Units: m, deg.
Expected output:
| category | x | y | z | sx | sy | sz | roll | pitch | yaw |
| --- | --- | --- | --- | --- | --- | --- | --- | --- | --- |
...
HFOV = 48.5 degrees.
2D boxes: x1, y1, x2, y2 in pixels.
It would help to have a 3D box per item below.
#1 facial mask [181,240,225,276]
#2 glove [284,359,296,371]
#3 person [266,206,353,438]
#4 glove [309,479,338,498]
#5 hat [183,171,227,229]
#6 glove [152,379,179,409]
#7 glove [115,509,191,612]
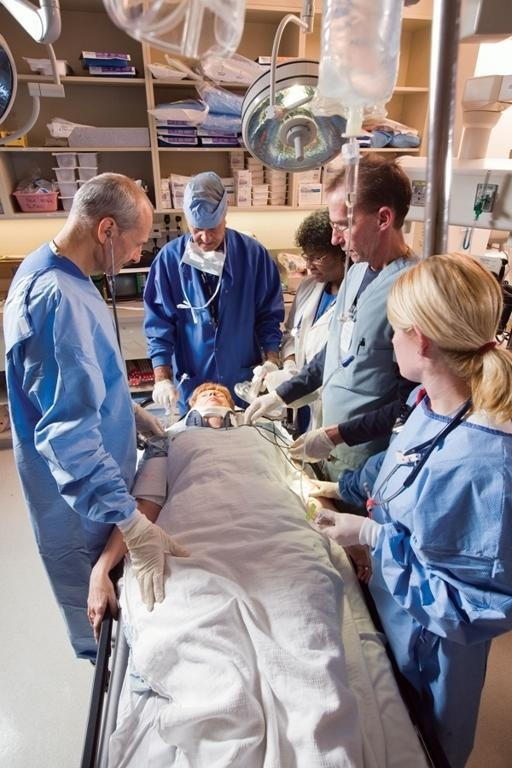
| category | x | y | z | sx | sy | sz | roll | pitch | yaw |
| --- | --- | --- | --- | --- | --- | --- | --- | --- | --- |
| facial mask | -0.220 | -0.510 | 2.322 | 0.171 | 0.122 | 0.050 | 23 | 18 | 2 |
| glove | 0.150 | -0.084 | 2.555 | 0.044 | 0.031 | 0.054 | -25 | 26 | 17 |
| person | 0.178 | -0.168 | 2.651 | 0.369 | 0.353 | 1.395 | 3 | 50 | -8 |
| glove | 0.213 | 0.338 | 1.824 | 0.078 | 0.038 | 0.050 | 16 | 20 | 17 |
| hat | -0.175 | -0.735 | 2.216 | 0.167 | 0.176 | 0.213 | 0 | 56 | 1 |
| glove | -0.385 | 0.058 | 2.427 | 0.100 | 0.129 | 0.045 | 1 | 37 | 2 |
| glove | -0.254 | 0.412 | 1.353 | 0.121 | 0.060 | 0.210 | -4 | 45 | -41 |
